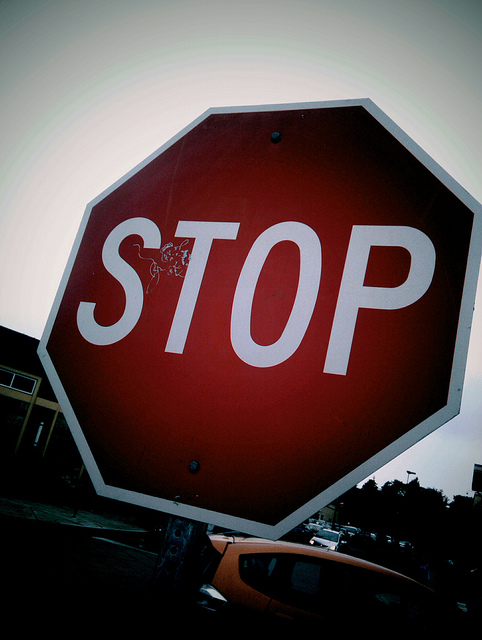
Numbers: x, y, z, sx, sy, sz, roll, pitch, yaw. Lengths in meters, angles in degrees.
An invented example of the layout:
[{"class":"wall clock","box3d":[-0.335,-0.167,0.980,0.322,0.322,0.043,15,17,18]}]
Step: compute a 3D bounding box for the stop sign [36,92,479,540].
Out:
[{"class":"stop sign","box3d":[0.001,-0.075,1.299,1.013,1.076,0.080,10,-14,23]}]
